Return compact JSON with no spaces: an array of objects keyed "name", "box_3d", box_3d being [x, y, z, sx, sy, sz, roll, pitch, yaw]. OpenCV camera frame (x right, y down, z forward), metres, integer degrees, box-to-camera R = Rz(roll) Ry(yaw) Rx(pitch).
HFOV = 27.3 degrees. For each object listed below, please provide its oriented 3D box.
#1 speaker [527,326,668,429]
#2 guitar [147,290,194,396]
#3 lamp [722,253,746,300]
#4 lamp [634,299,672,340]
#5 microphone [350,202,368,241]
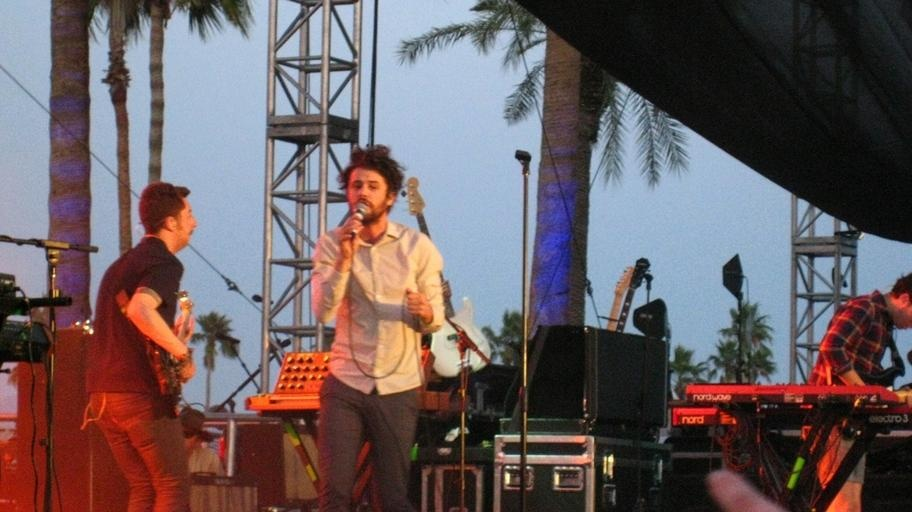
[{"name":"speaker","box_3d":[2.352,2.010,30.230,1.606,2.015,2.902,-3,-11,42]},{"name":"guitar","box_3d":[-4.205,1.225,27.777,0.444,1.726,0.524,-3,-1,27]},{"name":"lamp","box_3d":[5.113,0.361,34.435,0.410,0.882,0.298,1,-6,6]},{"name":"lamp","box_3d":[3.212,0.970,30.732,0.542,0.685,0.487,8,13,17]},{"name":"microphone","box_3d":[-1.395,-0.571,27.332,0.206,0.460,0.199,-1,-2,22]}]
